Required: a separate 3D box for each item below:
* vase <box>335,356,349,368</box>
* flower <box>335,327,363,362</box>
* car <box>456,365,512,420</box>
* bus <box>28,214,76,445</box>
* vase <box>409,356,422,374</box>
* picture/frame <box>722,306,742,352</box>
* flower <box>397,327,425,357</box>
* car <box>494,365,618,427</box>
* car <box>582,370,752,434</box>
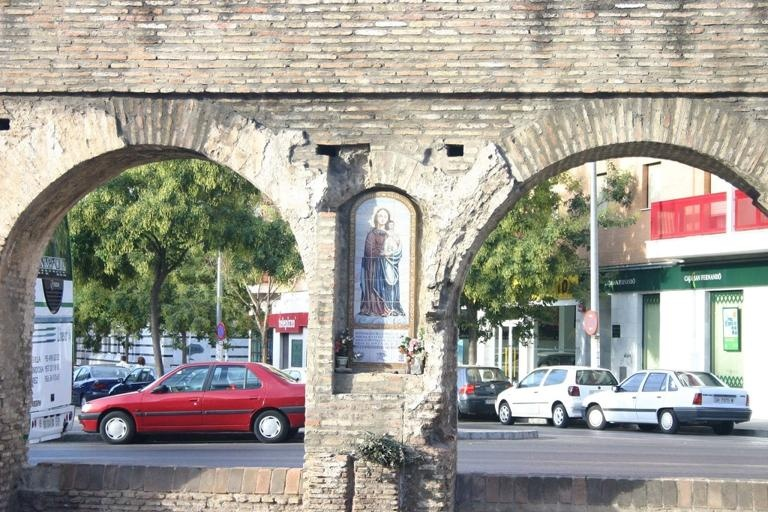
[{"bbox_3d":[-0.793,1.993,28.150,0.175,0.214,0.211,1,0,-10],"label":"vase"},{"bbox_3d":[-0.634,1.692,28.586,0.302,0.622,0.622,1,-8,-14],"label":"flower"},{"bbox_3d":[2.541,3.621,40.346,1.058,0.978,1.921,-1,0,-6],"label":"car"},{"bbox_3d":[-7.465,1.644,33.977,0.682,4.873,1.983,2,-9,-4],"label":"bus"},{"bbox_3d":[0.602,2.046,28.132,0.278,0.360,0.310,0,-6,7],"label":"vase"},{"bbox_3d":[9.599,2.025,41.822,0.173,1.234,0.755,4,-10,-21],"label":"picture/frame"},{"bbox_3d":[0.497,1.561,28.212,0.445,0.494,0.231,-12,-47,4],"label":"flower"},{"bbox_3d":[4.250,3.600,39.434,1.548,1.329,2.541,1,-2,-39],"label":"car"},{"bbox_3d":[6.863,3.561,37.261,1.640,1.250,3.423,4,-5,-36],"label":"car"}]
